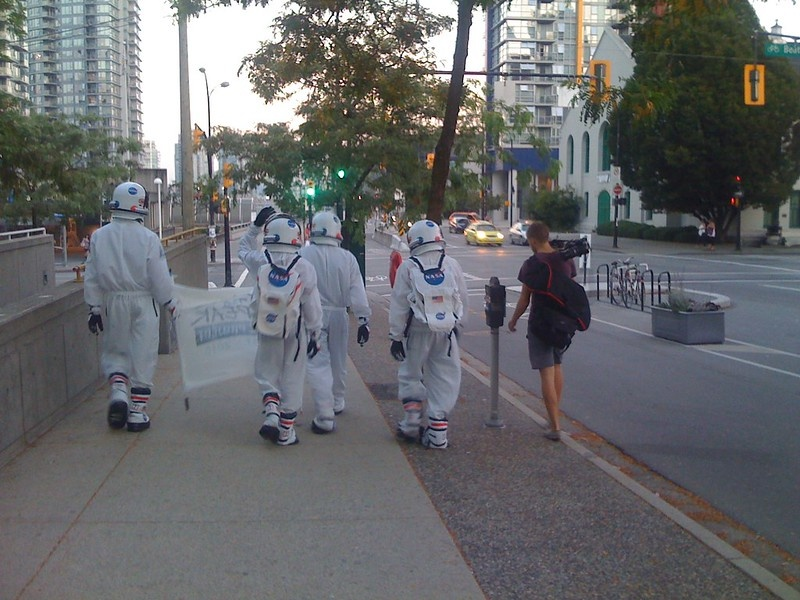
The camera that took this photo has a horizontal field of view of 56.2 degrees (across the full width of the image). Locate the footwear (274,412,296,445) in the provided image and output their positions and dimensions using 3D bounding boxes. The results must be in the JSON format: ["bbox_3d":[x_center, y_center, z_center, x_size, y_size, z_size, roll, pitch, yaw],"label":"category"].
[{"bbox_3d":[-1.178,1.365,7.930,0.173,0.359,0.320,1,-5,-6],"label":"footwear"}]

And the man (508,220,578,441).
[{"bbox_3d":[1.617,0.331,8.656,0.702,2.436,1.241,1,6,11],"label":"man"}]

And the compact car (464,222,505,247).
[{"bbox_3d":[5.477,-4.273,49.004,1.850,1.438,3.121,-1,7,-7],"label":"compact car"}]

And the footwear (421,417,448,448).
[{"bbox_3d":[0.357,1.378,7.929,0.182,0.388,0.368,1,15,-6],"label":"footwear"}]

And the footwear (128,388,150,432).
[{"bbox_3d":[-2.871,1.192,8.221,0.242,0.448,0.267,-2,7,-20],"label":"footwear"}]

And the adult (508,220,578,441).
[{"bbox_3d":[1.611,0.335,8.625,0.701,2.437,1.178,1,6,11],"label":"adult"}]

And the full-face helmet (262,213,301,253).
[{"bbox_3d":[-1.262,-0.696,8.011,0.313,0.376,0.401,2,19,2],"label":"full-face helmet"}]

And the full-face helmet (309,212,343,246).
[{"bbox_3d":[-0.874,-0.839,8.729,0.280,0.406,0.395,3,11,-6],"label":"full-face helmet"}]

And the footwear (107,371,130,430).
[{"bbox_3d":[-3.071,1.116,8.144,0.228,0.593,0.256,-2,7,-24],"label":"footwear"}]

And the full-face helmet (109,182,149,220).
[{"bbox_3d":[-3.087,-1.131,8.533,0.407,0.480,0.333,-7,14,-38],"label":"full-face helmet"}]

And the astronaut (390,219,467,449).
[{"bbox_3d":[0.295,0.361,7.956,0.795,2.372,0.474,1,6,6],"label":"astronaut"}]

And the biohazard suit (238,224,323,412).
[{"bbox_3d":[-1.218,0.292,8.043,0.748,2.396,0.741,-1,6,-10],"label":"biohazard suit"}]

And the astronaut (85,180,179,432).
[{"bbox_3d":[-2.999,0.046,8.345,0.960,2.683,0.807,-1,6,-9],"label":"astronaut"}]

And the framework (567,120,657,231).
[{"bbox_3d":[15.056,-8.569,53.177,4.801,10.067,9.268,-3,10,-11],"label":"framework"}]

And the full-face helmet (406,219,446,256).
[{"bbox_3d":[0.262,-0.655,8.101,0.276,0.378,0.405,-6,16,-2],"label":"full-face helmet"}]
